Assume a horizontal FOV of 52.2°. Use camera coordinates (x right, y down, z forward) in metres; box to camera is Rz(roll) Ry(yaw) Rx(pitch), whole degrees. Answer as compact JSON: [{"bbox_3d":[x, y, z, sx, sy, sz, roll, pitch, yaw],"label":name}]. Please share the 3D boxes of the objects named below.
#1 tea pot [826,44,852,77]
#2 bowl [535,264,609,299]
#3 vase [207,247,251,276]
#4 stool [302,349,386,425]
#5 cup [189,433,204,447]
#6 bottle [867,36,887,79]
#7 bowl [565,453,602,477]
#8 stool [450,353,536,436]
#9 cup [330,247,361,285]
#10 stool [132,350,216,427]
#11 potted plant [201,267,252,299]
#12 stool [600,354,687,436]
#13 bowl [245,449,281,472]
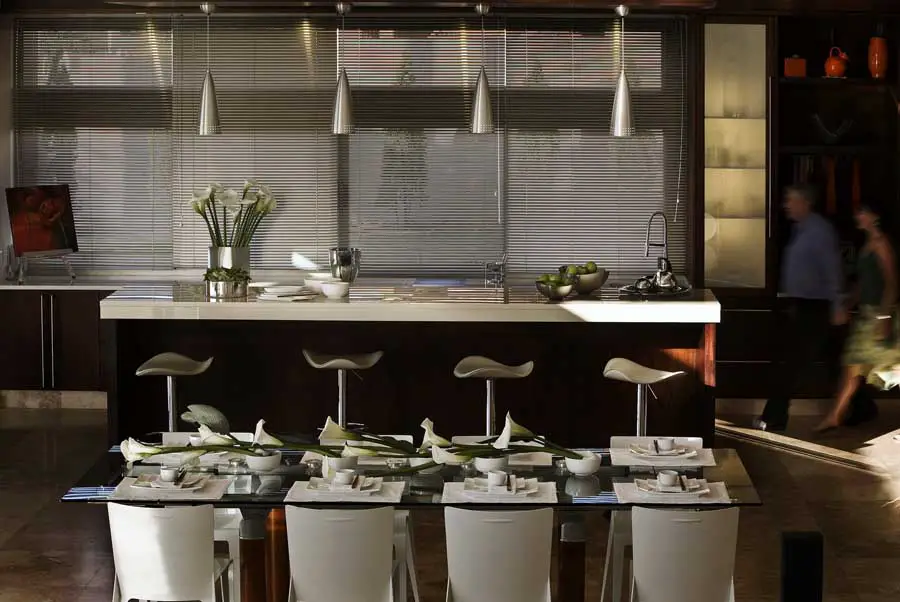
[{"bbox_3d":[3.372,-2.079,8.020,0.195,0.265,0.425,5,15,21],"label":"tea pot"},{"bbox_3d":[0.847,-0.108,6.469,0.437,0.185,0.258,-8,0,-21],"label":"bowl"},{"bbox_3d":[-1.681,-0.313,6.909,0.260,0.173,0.250,0,-2,7],"label":"vase"},{"bbox_3d":[-0.744,0.609,6.451,0.536,0.602,0.471,-1,15,-5],"label":"stool"},{"bbox_3d":[-1.353,0.731,4.879,0.065,0.040,0.057,0,2,18],"label":"cup"},{"bbox_3d":[3.707,-2.094,7.936,0.156,0.348,0.191,1,15,6],"label":"bottle"},{"bbox_3d":[0.673,0.829,4.671,0.126,0.060,0.121,-3,1,0],"label":"bowl"},{"bbox_3d":[0.285,0.666,6.393,0.517,0.638,0.589,0,14,0],"label":"stool"},{"bbox_3d":[-0.811,-0.265,6.773,0.269,0.273,0.252,0,5,0],"label":"cup"},{"bbox_3d":[-1.891,0.650,6.402,0.472,0.648,0.524,-3,15,-12],"label":"stool"},{"bbox_3d":[-1.604,-0.117,6.548,0.264,0.149,0.245,1,-3,-4],"label":"potted plant"},{"bbox_3d":[1.328,0.685,6.228,0.464,0.675,0.626,5,15,20],"label":"stool"},{"bbox_3d":[-0.960,0.805,4.671,0.127,0.060,0.122,-1,2,0],"label":"bowl"}]
